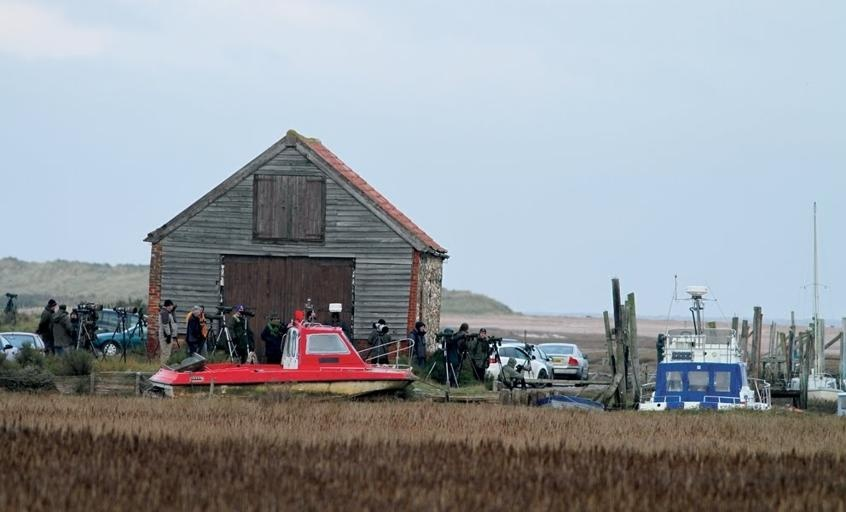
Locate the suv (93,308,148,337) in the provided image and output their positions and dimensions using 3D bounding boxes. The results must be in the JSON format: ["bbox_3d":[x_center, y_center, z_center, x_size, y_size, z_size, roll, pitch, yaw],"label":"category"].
[{"bbox_3d":[-12.732,2.587,81.880,2.051,1.104,1.196,-6,5,1],"label":"suv"}]
